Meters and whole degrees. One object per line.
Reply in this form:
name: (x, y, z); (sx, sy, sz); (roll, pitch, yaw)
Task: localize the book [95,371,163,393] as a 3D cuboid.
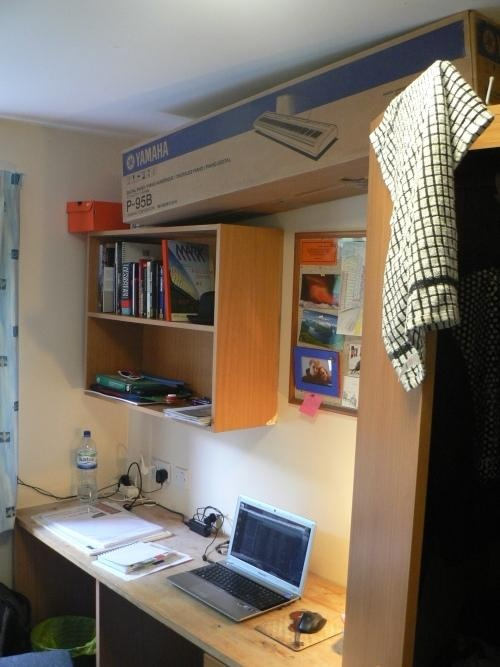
book: (-0.511, 0.208, 2.311); (0.130, 0.029, 0.131); (11, 9, 35)

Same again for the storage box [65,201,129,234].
storage box: (-0.700, -0.510, 2.415); (0.183, 0.122, 0.179); (-5, 9, -40)

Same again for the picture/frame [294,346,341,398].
picture/frame: (0.229, 0.122, 1.779); (0.018, 0.148, 0.166); (-1, 1, -41)

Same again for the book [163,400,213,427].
book: (-0.226, 0.287, 1.945); (0.170, 0.073, 0.299); (3, 0, -7)

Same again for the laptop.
laptop: (-0.022, 0.666, 1.673); (0.371, 0.269, 0.351); (2, -8, 38)

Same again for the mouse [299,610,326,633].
mouse: (0.167, 0.797, 1.491); (0.054, 0.052, 0.080); (3, 0, 32)

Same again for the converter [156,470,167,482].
converter: (-0.414, 0.666, 2.518); (0.022, 0.070, 0.073); (3, 0, -44)

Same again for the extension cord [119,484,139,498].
extension cord: (-0.585, 0.747, 2.609); (0.050, 0.028, 0.073); (-1, 9, -30)

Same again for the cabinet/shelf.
cabinet/shelf: (-0.393, -0.066, 2.291); (0.777, 0.724, 0.256); (6, 11, 44)

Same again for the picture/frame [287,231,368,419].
picture/frame: (0.247, -0.047, 1.764); (0.056, 0.562, 0.336); (3, 0, -35)

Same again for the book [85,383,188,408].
book: (-0.518, 0.258, 2.284); (0.587, 0.040, 0.154); (3, 0, 43)
